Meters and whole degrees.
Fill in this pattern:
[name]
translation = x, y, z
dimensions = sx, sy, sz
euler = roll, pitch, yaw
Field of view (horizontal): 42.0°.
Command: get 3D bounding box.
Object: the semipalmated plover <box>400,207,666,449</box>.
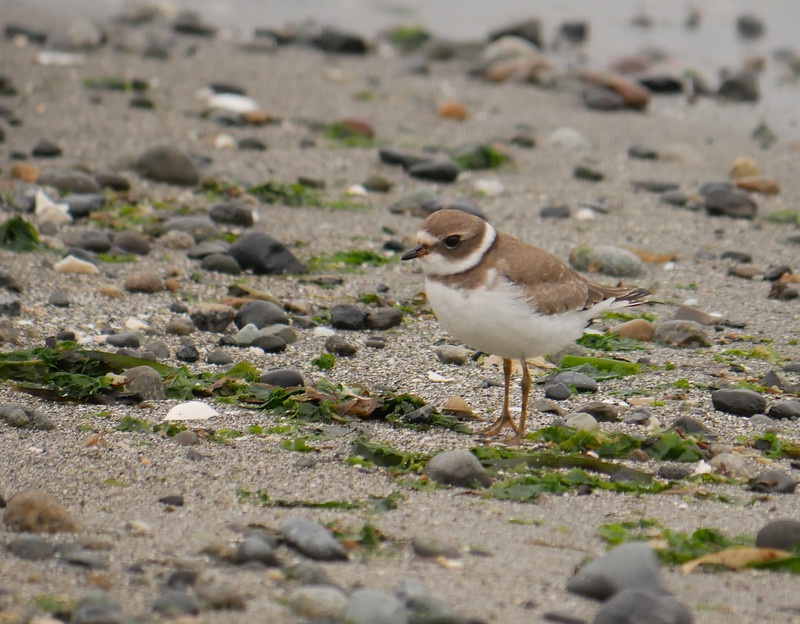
[semipalmated plover]
translation = 1.282, -0.103, 5.800
dimensions = 2.270, 1.236, 1.259
euler = -14, 19, -43
